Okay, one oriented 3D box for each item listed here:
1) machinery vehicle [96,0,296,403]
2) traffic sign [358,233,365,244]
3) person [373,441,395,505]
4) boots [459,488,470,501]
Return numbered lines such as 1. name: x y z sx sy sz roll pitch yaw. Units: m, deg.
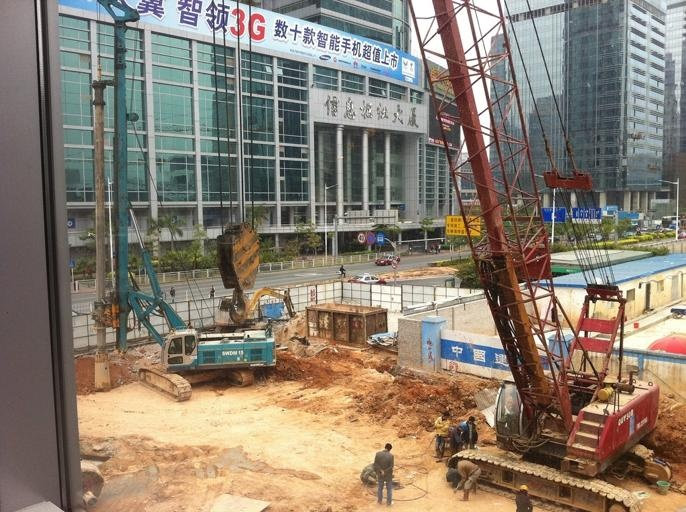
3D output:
1. machinery vehicle: -5.257 -2.294 21.100 5.140 12.289 6.746 -5 10 -21
2. traffic sign: 1.566 -1.618 58.670 0.799 0.879 0.199 -5 3 -28
3. person: 0.820 4.420 12.942 0.367 1.357 0.463 -1 10 1
4. boots: 2.530 4.938 13.278 0.217 0.244 0.132 0 -4 21
